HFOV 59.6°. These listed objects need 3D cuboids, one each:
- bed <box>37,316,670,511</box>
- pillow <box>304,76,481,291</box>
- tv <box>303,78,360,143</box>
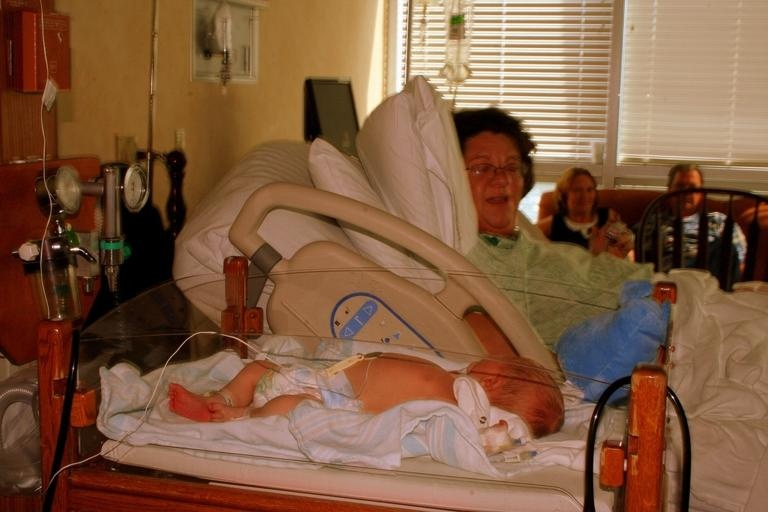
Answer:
[{"bbox_3d":[-0.104,0.126,1.410,0.911,0.428,0.520,5,14,8],"label":"bed"},{"bbox_3d":[0.072,-0.252,2.044,0.190,0.568,0.577,-21,0,-23],"label":"pillow"},{"bbox_3d":[-0.272,-0.804,3.717,0.305,0.459,0.133,7,41,11],"label":"tv"}]
